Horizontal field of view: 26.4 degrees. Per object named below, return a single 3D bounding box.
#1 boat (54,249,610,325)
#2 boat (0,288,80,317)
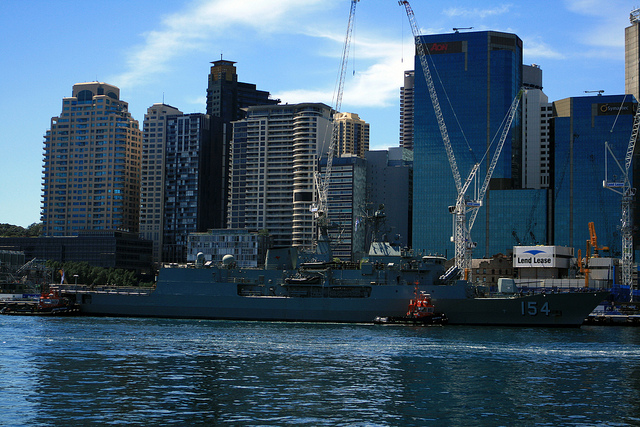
[{"bbox_3d":[4.792,12.565,229.369,71.520,8.677,13.425,0,-2,11],"label":"boat"},{"bbox_3d":[-45.180,14.901,227.496,13.168,4.369,4.848,-1,-3,13],"label":"boat"}]
